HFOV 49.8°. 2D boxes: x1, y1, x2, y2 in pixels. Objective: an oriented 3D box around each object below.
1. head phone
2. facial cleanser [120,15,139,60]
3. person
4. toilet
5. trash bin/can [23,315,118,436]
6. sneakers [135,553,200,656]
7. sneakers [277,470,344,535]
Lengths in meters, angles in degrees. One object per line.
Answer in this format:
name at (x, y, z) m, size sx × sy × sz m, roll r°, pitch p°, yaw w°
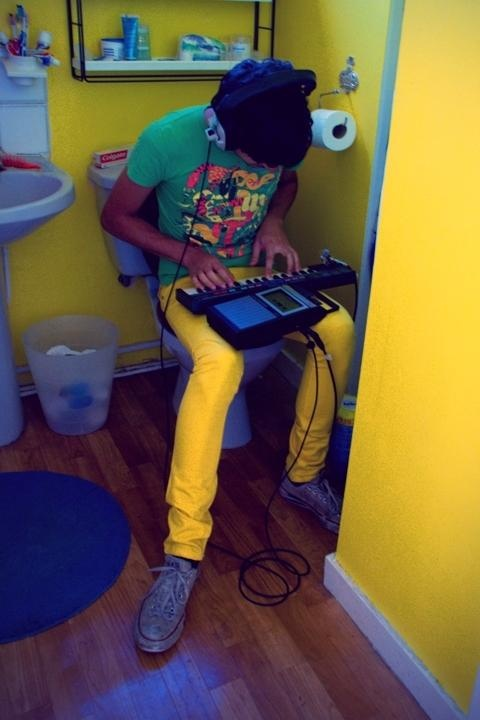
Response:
head phone at (0.038, -0.542, 1.133) m, size 0.141 × 0.205 × 0.172 m, roll 10°, pitch 23°, yaw -25°
facial cleanser at (-0.316, -0.920, 1.472) m, size 0.054 × 0.108 × 0.070 m, roll 8°, pitch 27°, yaw 0°
person at (0.003, -0.107, 1.234) m, size 0.589 × 1.074 × 0.850 m, roll -2°, pitch 29°, yaw -20°
toilet at (-0.153, -0.160, 1.424) m, size 0.340 × 0.599 × 0.620 m, roll -20°, pitch 59°, yaw -27°
trash bin/can at (-0.469, 0.021, 1.720) m, size 0.328 × 0.413 × 0.369 m, roll -1°, pitch 33°, yaw -8°
sneakers at (-0.147, 0.483, 1.065) m, size 0.071 × 0.082 × 0.189 m, roll 14°, pitch 32°, yaw 4°
sneakers at (0.197, 0.360, 1.410) m, size 0.196 × 0.092 × 0.073 m, roll 33°, pitch 40°, yaw 28°
